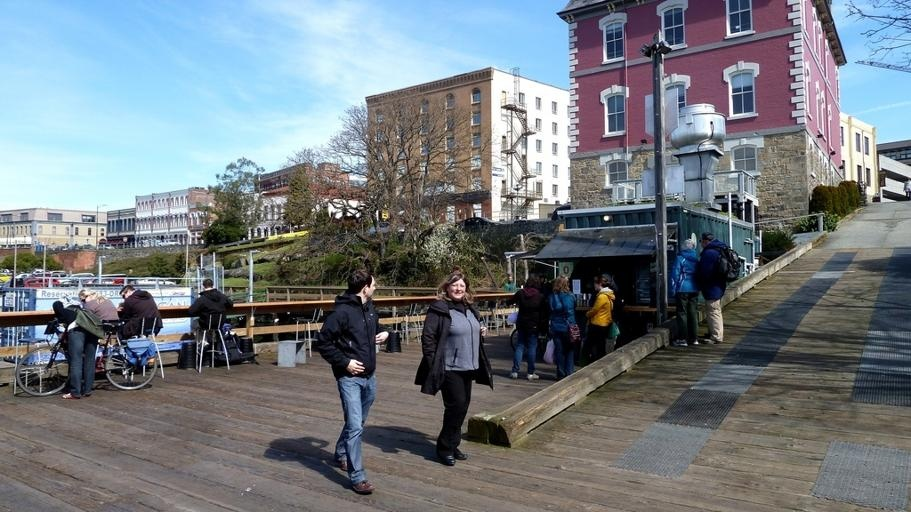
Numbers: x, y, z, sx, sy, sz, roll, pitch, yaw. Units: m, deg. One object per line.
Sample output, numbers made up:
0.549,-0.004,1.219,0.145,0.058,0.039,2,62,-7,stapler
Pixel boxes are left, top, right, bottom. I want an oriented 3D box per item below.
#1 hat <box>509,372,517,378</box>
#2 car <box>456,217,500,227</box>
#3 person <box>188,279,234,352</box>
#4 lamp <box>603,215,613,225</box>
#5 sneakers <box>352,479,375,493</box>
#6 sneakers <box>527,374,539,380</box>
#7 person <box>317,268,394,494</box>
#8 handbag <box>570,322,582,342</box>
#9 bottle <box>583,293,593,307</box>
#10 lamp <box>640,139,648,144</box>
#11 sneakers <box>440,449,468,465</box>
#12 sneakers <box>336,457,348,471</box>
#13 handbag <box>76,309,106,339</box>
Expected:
1.478,3.073,16.488,0.107,0.124,0.304,-3,-11,1,hat
1.588,-2.657,51.255,2.093,0.771,7.783,-4,1,-1,car
-6.586,1.578,17.283,1.020,1.758,0.464,-5,1,-19,person
5.158,-1.187,21.834,0.328,0.239,0.318,8,32,15,lamp
-1.603,4.029,11.156,0.373,0.152,0.174,-10,-11,43,sneakers
1.972,3.092,16.357,0.295,0.116,0.105,-2,1,-39,sneakers
-1.830,2.205,11.503,0.691,3.814,0.893,-4,1,33,person
2.991,1.963,16.221,0.212,0.425,0.579,-4,1,12,handbag
4.074,1.389,19.856,0.354,0.441,0.346,1,-10,0,bottle
11.291,-6.805,38.486,0.370,0.252,0.357,0,-9,18,lamp
-0.058,3.730,11.839,0.291,0.126,0.362,4,-9,-33,sneakers
-2.087,3.840,11.790,0.183,0.164,0.417,3,-7,-41,sneakers
-8.398,1.579,14.786,0.237,0.628,0.601,-31,-8,38,handbag
